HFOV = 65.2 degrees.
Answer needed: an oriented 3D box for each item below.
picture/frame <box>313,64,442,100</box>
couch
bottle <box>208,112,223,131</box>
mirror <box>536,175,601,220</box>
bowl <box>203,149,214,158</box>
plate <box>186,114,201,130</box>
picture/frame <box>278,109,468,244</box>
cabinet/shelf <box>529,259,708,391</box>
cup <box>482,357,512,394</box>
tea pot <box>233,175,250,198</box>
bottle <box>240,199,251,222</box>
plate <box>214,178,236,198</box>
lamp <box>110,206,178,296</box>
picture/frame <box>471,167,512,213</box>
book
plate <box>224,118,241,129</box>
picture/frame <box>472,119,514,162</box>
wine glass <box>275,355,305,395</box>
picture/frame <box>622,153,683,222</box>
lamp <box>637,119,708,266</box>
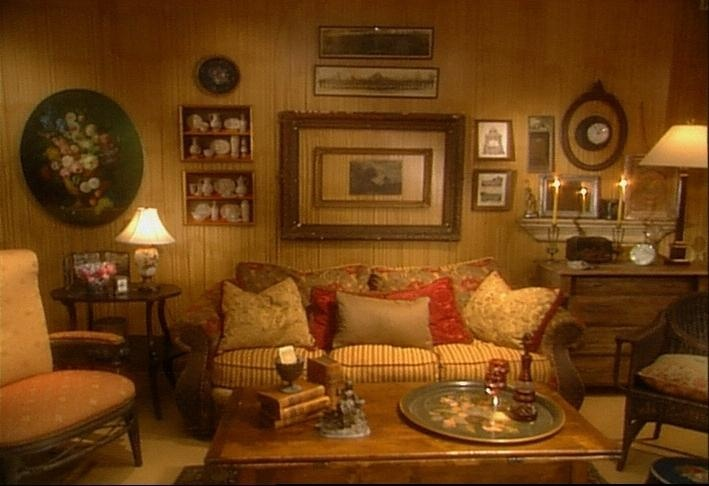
[{"bbox_3d":[0.196,-1.434,4.960,1.117,0.310,0.027,-1,14,-5],"label":"picture/frame"},{"bbox_3d":[0.184,0.812,4.416,3.008,0.997,0.908,1,11,-5],"label":"couch"},{"bbox_3d":[-1.243,-1.080,4.946,0.111,0.171,0.084,-3,7,-11],"label":"bottle"},{"bbox_3d":[1.939,-0.432,5.078,0.466,0.338,0.047,1,2,-1],"label":"mirror"},{"bbox_3d":[-1.302,-0.800,4.947,0.083,0.057,0.082,1,2,0],"label":"bowl"},{"bbox_3d":[-1.433,-1.071,4.913,0.146,0.132,0.033,4,6,16],"label":"plate"},{"bbox_3d":[0.117,-0.647,5.002,1.285,0.843,0.105,1,9,0],"label":"picture/frame"},{"bbox_3d":[2.168,0.891,5.148,1.593,1.355,1.006,-1,10,0],"label":"cabinet/shelf"},{"bbox_3d":[0.879,0.838,3.435,0.150,0.203,0.150,0,-5,0],"label":"cup"},{"bbox_3d":[-1.021,-0.514,4.985,0.190,0.226,0.152,-2,7,-19],"label":"tea pot"},{"bbox_3d":[-0.985,-0.286,5.017,0.094,0.213,0.043,-3,7,-12],"label":"bottle"},{"bbox_3d":[-1.174,-0.509,5.069,0.180,0.168,0.036,-6,4,2],"label":"plate"},{"bbox_3d":[-1.807,0.066,4.780,0.546,0.658,0.533,-4,-3,41],"label":"lamp"},{"bbox_3d":[1.238,-0.509,5.061,0.429,0.393,0.031,0,3,-1],"label":"picture/frame"},{"bbox_3d":[-0.391,0.903,3.328,0.342,0.153,0.248,-3,4,-36],"label":"book"},{"bbox_3d":[-1.086,-1.067,4.953,0.163,0.103,0.040,0,7,17],"label":"plate"},{"bbox_3d":[1.252,-0.941,5.028,0.406,0.381,0.020,-4,8,-18],"label":"picture/frame"},{"bbox_3d":[-0.400,0.810,3.431,0.209,0.174,0.216,-1,2,-32],"label":"wine glass"},{"bbox_3d":[2.692,-0.520,4.991,0.695,0.769,0.112,1,0,2],"label":"picture/frame"},{"bbox_3d":[2.730,-0.439,4.782,0.465,1.210,0.655,2,8,31],"label":"lamp"}]
